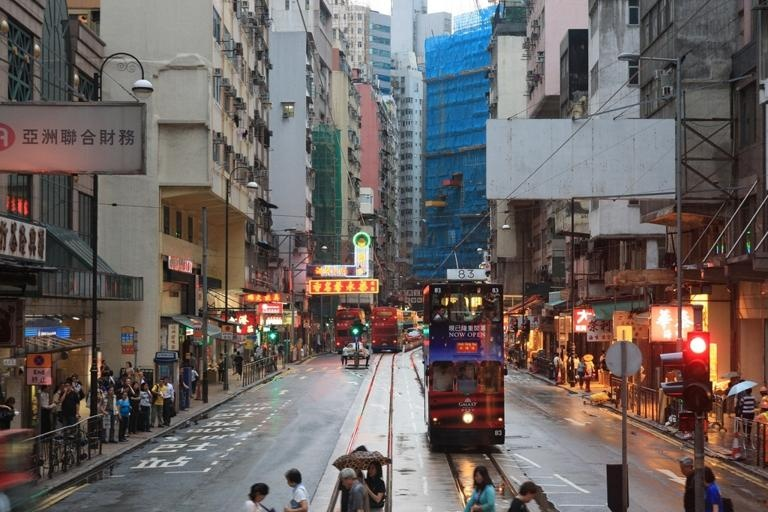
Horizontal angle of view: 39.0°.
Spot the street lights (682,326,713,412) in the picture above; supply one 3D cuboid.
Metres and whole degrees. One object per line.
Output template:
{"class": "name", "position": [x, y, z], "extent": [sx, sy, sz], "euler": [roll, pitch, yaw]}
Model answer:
{"class": "street lights", "position": [9.127, 3.419, 31.481], "extent": [0.758, 3.009, 0.647], "euler": [-1, 1, 0]}

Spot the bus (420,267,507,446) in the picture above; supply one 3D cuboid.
{"class": "bus", "position": [3.479, 4.541, 45.912], "extent": [3.627, 6.184, 5.165], "euler": [0, -5, 4]}

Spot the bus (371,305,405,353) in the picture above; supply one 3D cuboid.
{"class": "bus", "position": [0.292, 7.360, 110.268], "extent": [3.038, 4.178, 6.910], "euler": [-3, -9, -3]}
